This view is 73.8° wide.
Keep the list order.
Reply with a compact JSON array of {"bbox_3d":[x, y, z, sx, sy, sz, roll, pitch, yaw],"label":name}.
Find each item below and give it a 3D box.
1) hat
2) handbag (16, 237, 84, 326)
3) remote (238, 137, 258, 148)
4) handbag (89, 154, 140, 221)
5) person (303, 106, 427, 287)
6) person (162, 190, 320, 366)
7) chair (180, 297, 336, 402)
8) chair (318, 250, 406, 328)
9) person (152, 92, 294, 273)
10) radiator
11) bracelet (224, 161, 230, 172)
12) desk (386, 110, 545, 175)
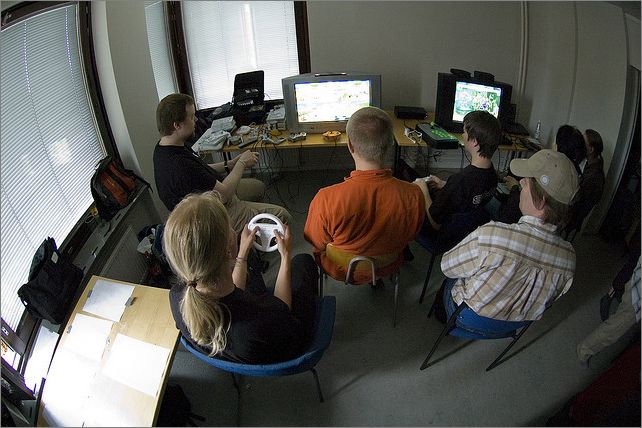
[{"bbox_3d":[1.605,-0.276,3.099,0.321,0.274,0.462,-22,50,-36],"label":"hat"},{"bbox_3d":[-2.108,0.547,3.301,0.214,0.443,0.488,-8,46,17],"label":"handbag"},{"bbox_3d":[-0.782,-0.758,4.577,0.182,0.046,0.099,-24,27,-15],"label":"remote"},{"bbox_3d":[-1.926,-0.239,3.951,0.221,0.435,0.409,-9,37,13],"label":"handbag"},{"bbox_3d":[0.315,-0.088,3.412,0.936,1.362,0.489,-6,27,-5],"label":"person"},{"bbox_3d":[-0.586,0.482,3.021,0.720,1.687,1.126,6,68,11],"label":"person"},{"bbox_3d":[-0.451,0.962,3.396,0.940,1.199,0.878,-5,63,4],"label":"chair"},{"bbox_3d":[0.337,0.515,3.706,0.673,1.039,0.731,1,63,3],"label":"chair"},{"bbox_3d":[-0.894,-0.309,3.865,1.235,1.769,0.732,-20,49,-28],"label":"person"},{"bbox_3d":[-1.802,0.372,3.871,0.034,0.337,0.516,-2,56,21],"label":"radiator"},{"bbox_3d":[-0.951,-0.466,4.319,0.029,0.087,0.062,-11,19,-16],"label":"bracelet"},{"bbox_3d":[1.525,-0.754,4.411,0.674,0.540,0.589,0,43,-3],"label":"desk"}]
